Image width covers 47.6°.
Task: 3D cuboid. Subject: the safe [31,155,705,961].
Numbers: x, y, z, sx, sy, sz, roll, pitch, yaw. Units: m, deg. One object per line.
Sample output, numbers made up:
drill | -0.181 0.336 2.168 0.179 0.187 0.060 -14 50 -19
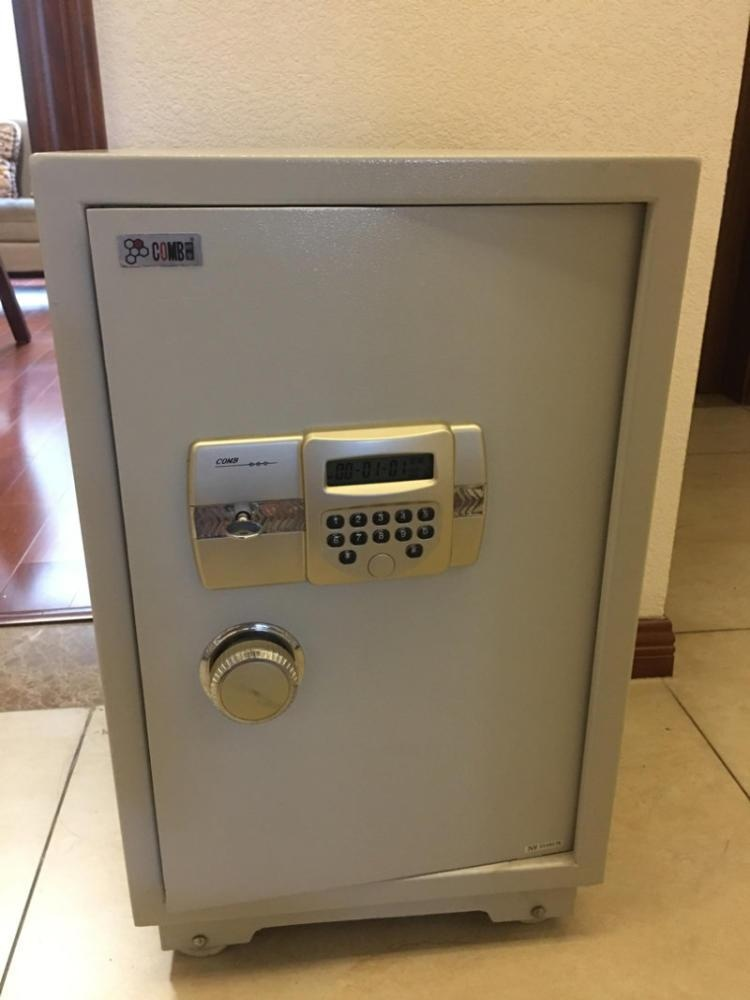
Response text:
safe | -0.012 0.052 0.666 0.397 0.214 0.546 -3 -75 -8
